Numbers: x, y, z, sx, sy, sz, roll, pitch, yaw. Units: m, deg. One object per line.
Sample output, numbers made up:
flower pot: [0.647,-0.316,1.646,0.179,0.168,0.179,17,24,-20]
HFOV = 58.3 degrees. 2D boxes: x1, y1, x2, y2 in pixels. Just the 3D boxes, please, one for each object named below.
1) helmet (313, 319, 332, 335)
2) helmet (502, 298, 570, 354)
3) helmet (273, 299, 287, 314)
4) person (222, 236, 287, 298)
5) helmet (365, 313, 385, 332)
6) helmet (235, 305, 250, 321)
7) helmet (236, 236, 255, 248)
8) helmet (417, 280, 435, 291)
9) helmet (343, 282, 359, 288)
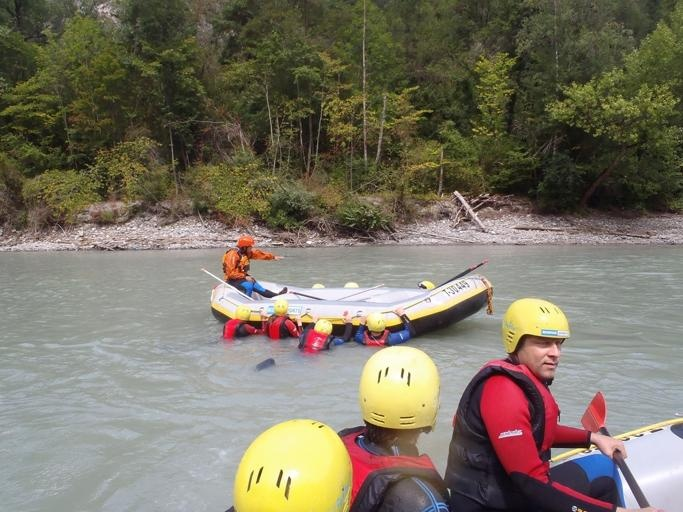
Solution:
helmet: [-0.316,1.109,9.641,0.204,0.225,0.258,15,39,44]
helmet: [1.596,0.539,5.200,0.437,0.392,0.537,7,15,-30]
helmet: [-1.025,0.852,10.275,0.195,0.216,0.197,3,-22,4]
person: [-1.978,0.128,12.410,1.631,1.316,1.091,5,18,1]
helmet: [0.526,1.049,9.720,0.257,0.244,0.307,9,52,5]
helmet: [-1.705,0.954,10.544,0.208,0.204,0.247,14,50,-13]
helmet: [-1.973,-0.272,12.310,0.364,0.174,0.237,0,21,11]
helmet: [1.552,0.543,11.358,0.213,0.220,0.233,10,-1,14]
helmet: [0.191,0.560,11.911,0.155,0.082,0.144,12,-10,-15]
